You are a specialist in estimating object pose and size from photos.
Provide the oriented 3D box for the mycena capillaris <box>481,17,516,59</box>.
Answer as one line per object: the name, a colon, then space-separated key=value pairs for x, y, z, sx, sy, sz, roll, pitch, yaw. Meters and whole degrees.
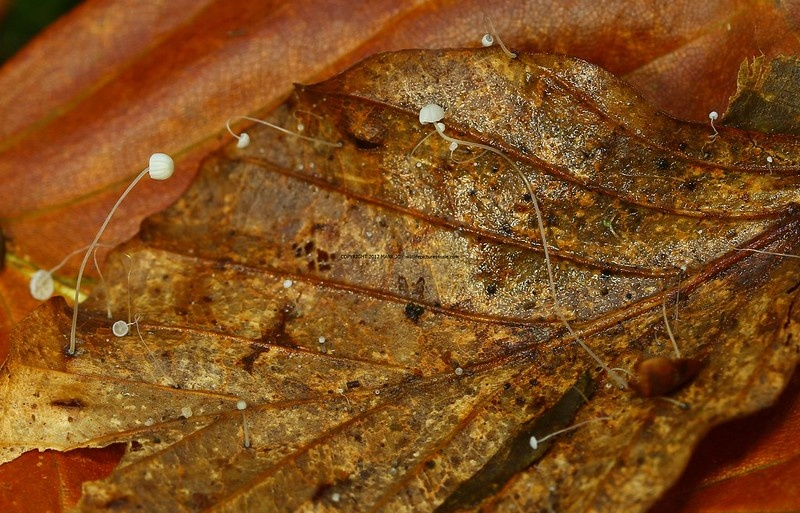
mycena capillaris: x=0.476 y=-1.069 z=4.432 sx=0.050 sy=0.086 sz=0.221 roll=-32 pitch=67 yaw=-3

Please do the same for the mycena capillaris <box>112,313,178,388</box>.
mycena capillaris: x=-1.187 y=0.465 z=4.290 sx=0.169 sy=0.024 sz=0.519 roll=-26 pitch=72 yaw=-13
